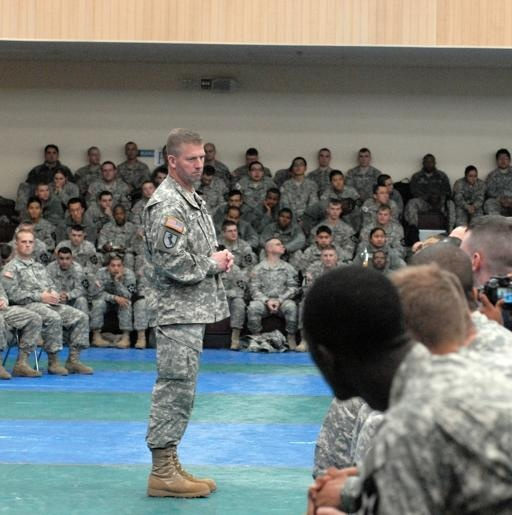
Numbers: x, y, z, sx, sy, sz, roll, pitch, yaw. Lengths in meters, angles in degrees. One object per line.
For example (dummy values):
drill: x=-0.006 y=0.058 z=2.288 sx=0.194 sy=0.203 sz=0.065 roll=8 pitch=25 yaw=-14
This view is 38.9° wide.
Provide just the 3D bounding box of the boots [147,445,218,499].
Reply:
boots: x=-0.344 y=1.114 z=3.757 sx=0.489 sy=0.319 sz=0.171 roll=2 pitch=2 yaw=-3

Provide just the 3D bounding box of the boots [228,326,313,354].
boots: x=0.217 y=1.149 z=9.617 sx=0.692 sy=0.207 sz=0.498 roll=5 pitch=-6 yaw=-27
